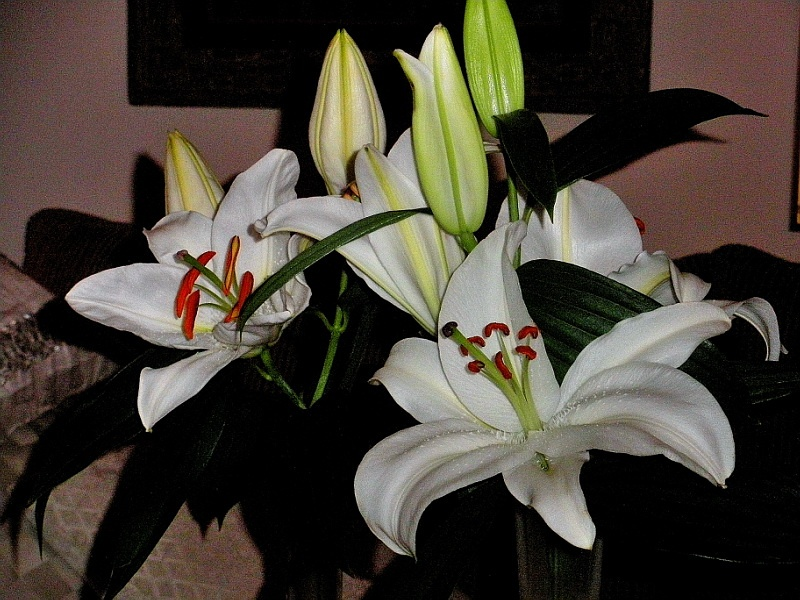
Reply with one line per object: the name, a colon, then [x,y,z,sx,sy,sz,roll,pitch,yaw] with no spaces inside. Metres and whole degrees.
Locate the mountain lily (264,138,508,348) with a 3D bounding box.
mountain lily: [-0.018,-0.054,0.818,0.172,0.181,0.071,-35,-4,17]

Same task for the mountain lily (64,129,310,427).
mountain lily: [-0.227,-0.058,0.914,0.204,0.109,0.187,22,15,37]

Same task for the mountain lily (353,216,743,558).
mountain lily: [0.103,0.086,0.803,0.358,0.156,0.324,-16,31,-42]
